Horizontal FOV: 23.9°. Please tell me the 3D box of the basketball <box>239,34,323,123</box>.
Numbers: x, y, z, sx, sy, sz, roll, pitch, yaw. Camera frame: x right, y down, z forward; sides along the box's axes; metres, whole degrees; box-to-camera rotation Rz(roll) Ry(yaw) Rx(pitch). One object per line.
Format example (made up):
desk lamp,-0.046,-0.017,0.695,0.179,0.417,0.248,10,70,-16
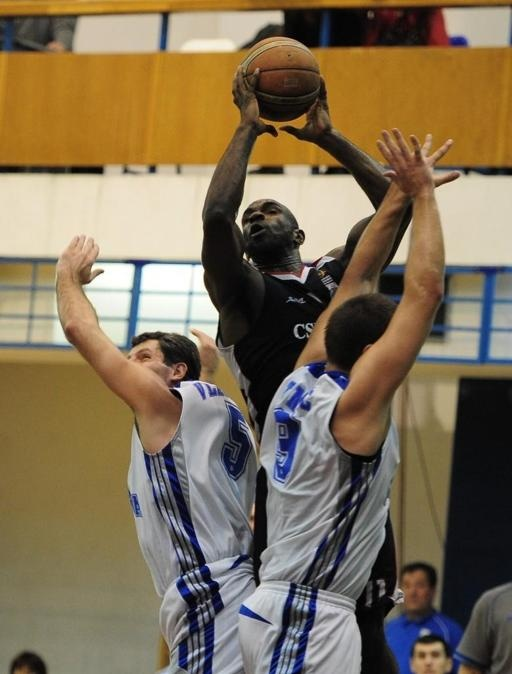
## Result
basketball,0.112,-1.162,5.361,0.352,0.337,0.339,-3,6,5
